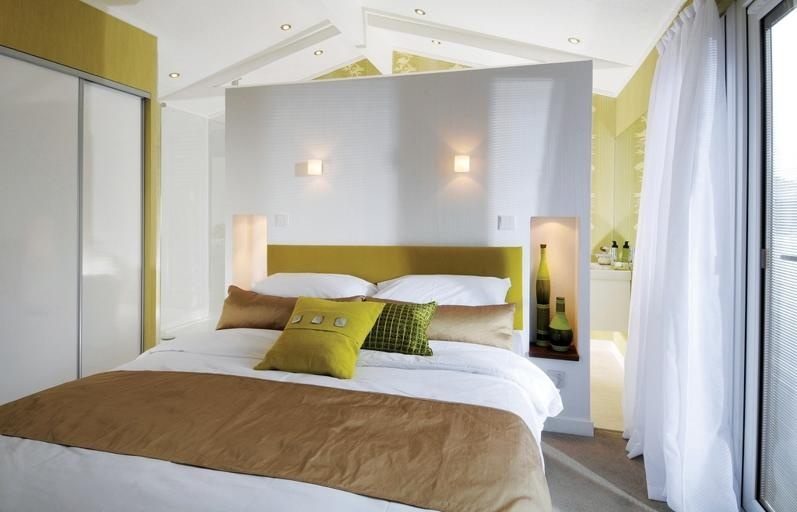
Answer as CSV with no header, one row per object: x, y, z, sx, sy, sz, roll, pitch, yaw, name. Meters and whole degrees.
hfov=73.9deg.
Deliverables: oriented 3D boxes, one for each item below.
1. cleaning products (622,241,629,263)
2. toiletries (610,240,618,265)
2.577,-0.048,5.960,0.079,0.228,0.172,1,6,18,cleaning products
2.495,-0.040,6.111,0.087,0.252,0.328,2,6,22,toiletries
